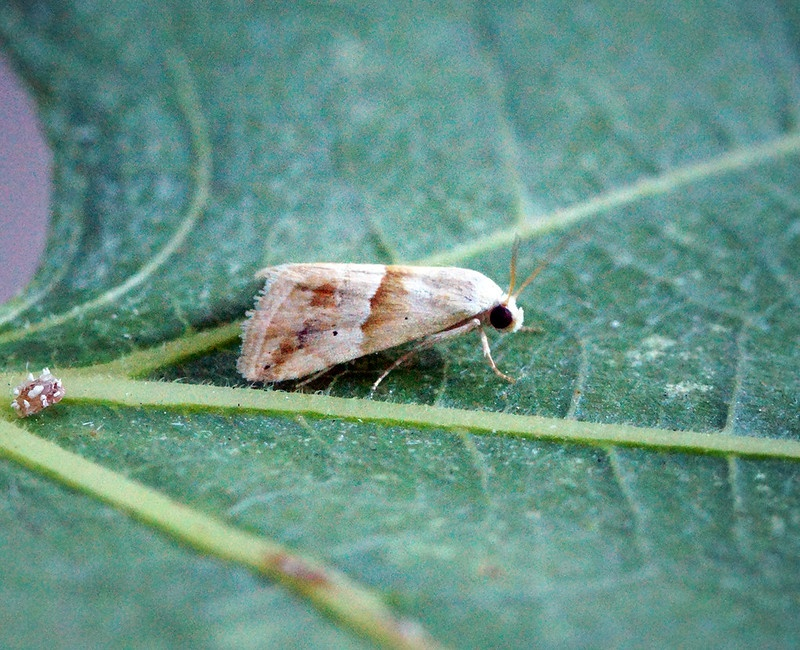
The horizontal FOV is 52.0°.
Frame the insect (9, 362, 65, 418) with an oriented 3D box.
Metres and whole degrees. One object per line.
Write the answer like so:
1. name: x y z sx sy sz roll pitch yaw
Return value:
1. insect: -1.439 0.273 3.252 0.182 0.152 0.151 -38 82 -6
